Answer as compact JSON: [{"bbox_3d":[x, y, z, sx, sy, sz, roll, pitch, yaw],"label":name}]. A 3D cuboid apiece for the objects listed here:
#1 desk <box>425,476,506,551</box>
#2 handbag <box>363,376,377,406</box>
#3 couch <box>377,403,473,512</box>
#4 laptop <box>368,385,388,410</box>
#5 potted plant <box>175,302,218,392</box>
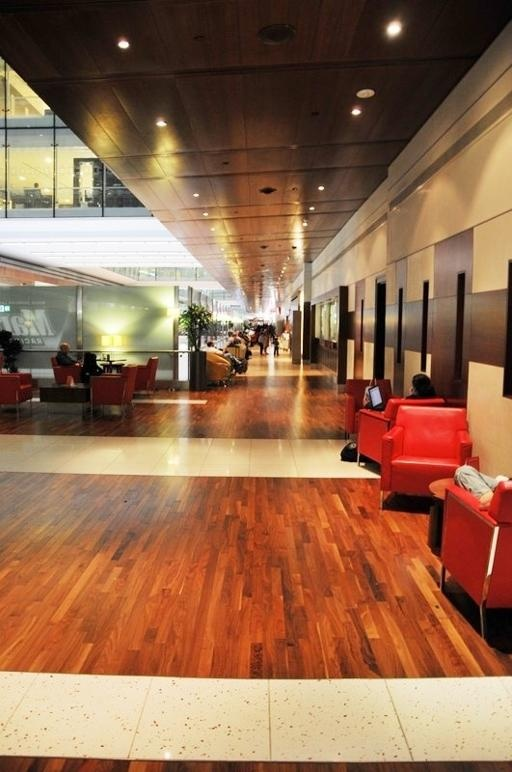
[{"bbox_3d":[1.372,0.923,3.468,0.443,0.553,0.478,-5,8,-24],"label":"desk"},{"bbox_3d":[1.476,0.081,6.471,0.128,0.324,0.308,-1,-19,3],"label":"handbag"},{"bbox_3d":[1.494,0.606,4.629,0.801,1.242,0.849,0,-5,15],"label":"couch"},{"bbox_3d":[1.474,0.151,6.060,0.117,0.258,0.242,-3,11,20],"label":"laptop"},{"bbox_3d":[-1.674,-1.075,13.632,0.843,2.360,1.328,0,3,-6],"label":"potted plant"}]
